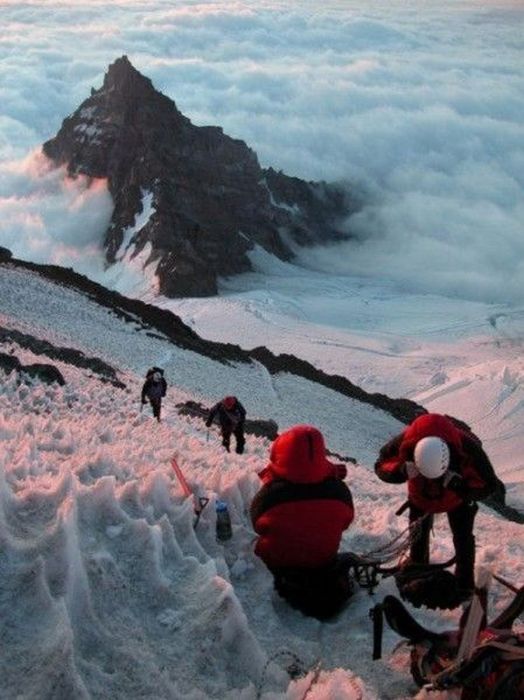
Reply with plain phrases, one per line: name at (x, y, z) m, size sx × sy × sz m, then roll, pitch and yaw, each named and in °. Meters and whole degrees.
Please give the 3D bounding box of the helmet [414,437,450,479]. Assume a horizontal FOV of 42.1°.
helmet at (1.348, 0.878, 5.588) m, size 0.307 × 0.319 × 0.320 m, roll -2°, pitch 60°, yaw 12°

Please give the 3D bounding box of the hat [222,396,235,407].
hat at (-0.571, 0.893, 11.914) m, size 0.219 × 0.140 × 0.262 m, roll -3°, pitch 26°, yaw -3°

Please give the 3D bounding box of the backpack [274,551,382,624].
backpack at (0.597, 1.911, 5.746) m, size 0.421 × 0.399 × 0.818 m, roll 20°, pitch 24°, yaw 41°

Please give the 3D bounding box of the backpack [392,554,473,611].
backpack at (1.322, 1.809, 5.360) m, size 0.447 × 0.234 × 0.594 m, roll 1°, pitch -2°, yaw 26°

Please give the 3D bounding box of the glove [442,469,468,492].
glove at (1.575, 1.074, 5.636) m, size 0.213 × 0.145 × 0.074 m, roll 36°, pitch -1°, yaw -1°
